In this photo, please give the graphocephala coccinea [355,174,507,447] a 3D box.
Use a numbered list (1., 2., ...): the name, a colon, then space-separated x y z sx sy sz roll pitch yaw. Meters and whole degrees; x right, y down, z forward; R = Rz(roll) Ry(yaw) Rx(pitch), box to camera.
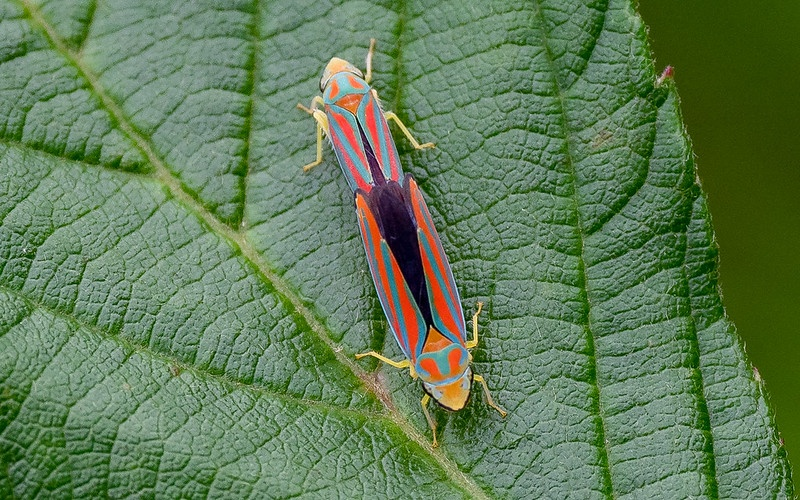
1. graphocephala coccinea: 0.238 0.509 7.223 0.609 2.089 1.369 -22 -41 38
